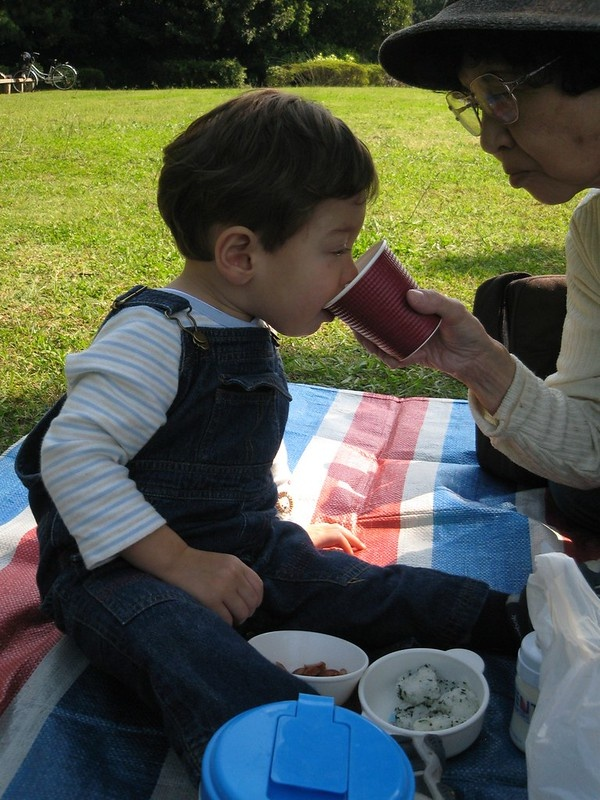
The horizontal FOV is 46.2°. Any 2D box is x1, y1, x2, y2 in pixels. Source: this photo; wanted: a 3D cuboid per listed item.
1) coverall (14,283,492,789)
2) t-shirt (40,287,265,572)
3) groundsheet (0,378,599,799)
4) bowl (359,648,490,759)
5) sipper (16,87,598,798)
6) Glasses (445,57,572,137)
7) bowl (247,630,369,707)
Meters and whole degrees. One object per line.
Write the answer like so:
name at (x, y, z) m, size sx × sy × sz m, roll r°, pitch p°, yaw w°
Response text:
coverall at (-0.171, 0.226, 1.544) m, size 0.984 × 0.640 × 0.945 m, roll 3°, pitch 4°, yaw 24°
t-shirt at (-0.323, 0.054, 1.662) m, size 0.397 × 0.569 × 0.709 m, roll 10°, pitch 1°, yaw 18°
groundsheet at (-0.078, 0.455, 1.626) m, size 0.954 × 0.045 × 0.984 m, roll 0°, pitch 19°, yaw 0°
bowl at (0.240, 0.566, 1.336) m, size 0.173 × 0.072 × 0.180 m, roll -1°, pitch 21°, yaw 0°
sipper at (-0.008, -0.081, 1.912) m, size 1.347 × 1.392 × 1.369 m, roll 4°, pitch 7°, yaw 23°
Glasses at (0.427, -0.635, 1.460) m, size 0.166 × 0.056 × 0.152 m, roll -26°, pitch 12°, yaw -11°
bowl at (0.012, 0.518, 1.347) m, size 0.196 × 0.063 × 0.190 m, roll 12°, pitch 0°, yaw 0°
